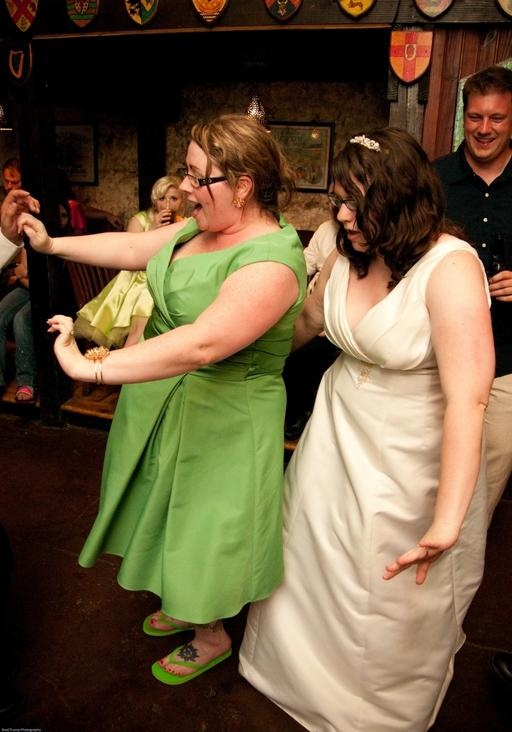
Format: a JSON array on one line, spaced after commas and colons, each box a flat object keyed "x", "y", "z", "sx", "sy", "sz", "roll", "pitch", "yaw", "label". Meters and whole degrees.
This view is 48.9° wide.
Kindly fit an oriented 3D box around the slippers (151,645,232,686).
[{"x": -0.242, "y": 1.055, "z": 2.004, "sx": 0.242, "sy": 0.045, "sz": 0.113, "roll": -12, "pitch": 25, "yaw": -23, "label": "slippers"}]

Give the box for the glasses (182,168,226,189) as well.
[{"x": -0.122, "y": -0.454, "z": 1.382, "sx": 0.074, "sy": 0.019, "sz": 0.068, "roll": -9, "pitch": 29, "yaw": -25, "label": "glasses"}]

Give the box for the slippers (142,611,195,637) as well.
[{"x": -0.352, "y": 1.018, "z": 2.254, "sx": 0.217, "sy": 0.049, "sz": 0.107, "roll": 5, "pitch": 12, "yaw": 0, "label": "slippers"}]
